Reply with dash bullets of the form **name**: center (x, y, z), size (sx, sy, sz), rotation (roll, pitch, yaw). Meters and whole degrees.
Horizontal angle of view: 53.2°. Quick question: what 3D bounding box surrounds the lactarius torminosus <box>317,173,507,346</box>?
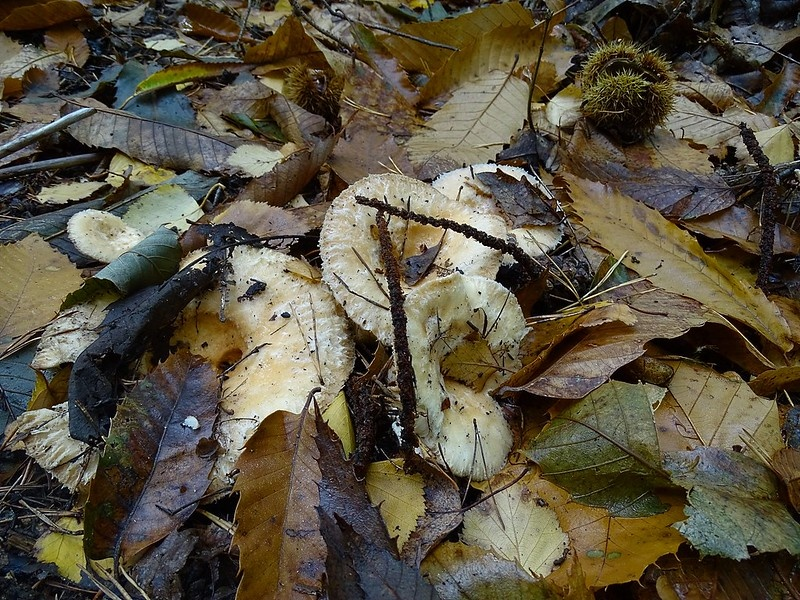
- **lactarius torminosus**: center (0.023, -0.323, 4.063), size (0.952, 0.303, 0.925), rotation (37, 66, 15)

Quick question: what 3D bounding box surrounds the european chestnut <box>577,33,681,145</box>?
- **european chestnut**: center (1.395, -1.288, 4.954), size (0.516, 0.423, 0.531), rotation (5, 47, -1)

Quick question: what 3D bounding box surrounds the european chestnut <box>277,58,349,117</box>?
- **european chestnut**: center (-0.539, -1.296, 4.921), size (0.380, 0.253, 0.358), rotation (0, 47, -5)

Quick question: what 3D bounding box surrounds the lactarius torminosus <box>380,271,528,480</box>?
- **lactarius torminosus**: center (0.275, 0.329, 3.729), size (0.595, 0.561, 0.854), rotation (8, 46, 2)

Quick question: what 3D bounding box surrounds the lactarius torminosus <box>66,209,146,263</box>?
- **lactarius torminosus**: center (-1.536, -0.326, 4.133), size (0.343, 0.174, 0.324), rotation (18, 48, 12)
